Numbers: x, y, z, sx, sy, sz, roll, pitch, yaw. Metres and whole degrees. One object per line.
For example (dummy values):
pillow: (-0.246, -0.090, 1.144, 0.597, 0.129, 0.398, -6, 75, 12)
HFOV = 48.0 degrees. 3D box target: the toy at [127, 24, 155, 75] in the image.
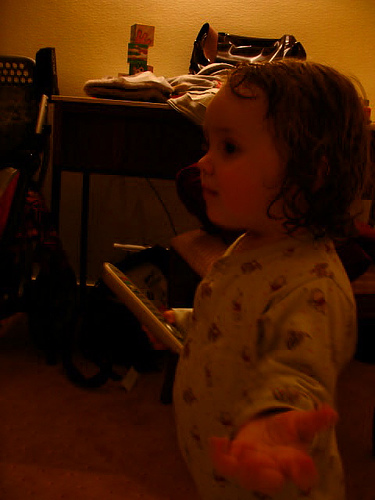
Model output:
toy: (-0.168, -0.715, 1.537, 0.088, 0.181, 0.144, 0, 6, -6)

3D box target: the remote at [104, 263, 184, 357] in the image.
remote: (-0.108, 0.145, 0.994, 0.050, 0.064, 0.431, -33, 41, -11)
